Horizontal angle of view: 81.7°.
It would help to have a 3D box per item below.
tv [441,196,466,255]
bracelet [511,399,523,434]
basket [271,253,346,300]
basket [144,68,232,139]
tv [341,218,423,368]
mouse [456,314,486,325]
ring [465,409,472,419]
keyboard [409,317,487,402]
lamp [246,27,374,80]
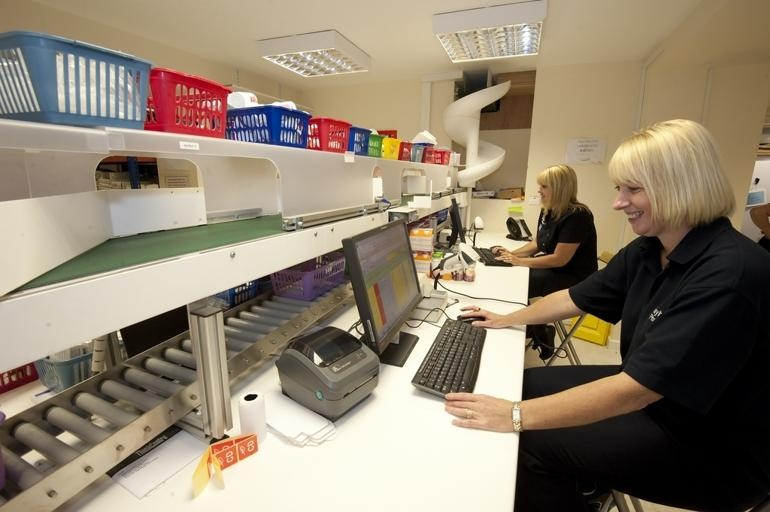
[{"bbox_3d":[0.536,-0.240,3.560,0.180,0.429,0.432,-3,23,6],"label":"tv"},{"bbox_3d":[0.477,0.583,1.609,0.054,0.084,0.091,-5,50,12],"label":"bracelet"},{"bbox_3d":[-0.367,0.084,2.331,0.218,0.131,0.340,1,8,23],"label":"basket"},{"bbox_3d":[-0.660,-0.513,1.575,0.221,0.170,0.289,13,15,36],"label":"basket"},{"bbox_3d":[-0.013,0.167,1.897,0.173,0.458,0.507,-6,25,23],"label":"tv"},{"bbox_3d":[0.426,0.310,2.206,0.112,0.043,0.082,-2,34,9],"label":"mouse"},{"bbox_3d":[0.303,0.576,1.621,0.022,0.029,0.029,1,-6,5],"label":"ring"},{"bbox_3d":[0.291,0.414,1.901,0.202,0.470,0.056,21,42,7],"label":"keyboard"},{"bbox_3d":[-0.627,-1.899,4.198,0.834,0.262,0.887,3,19,20],"label":"lamp"}]
